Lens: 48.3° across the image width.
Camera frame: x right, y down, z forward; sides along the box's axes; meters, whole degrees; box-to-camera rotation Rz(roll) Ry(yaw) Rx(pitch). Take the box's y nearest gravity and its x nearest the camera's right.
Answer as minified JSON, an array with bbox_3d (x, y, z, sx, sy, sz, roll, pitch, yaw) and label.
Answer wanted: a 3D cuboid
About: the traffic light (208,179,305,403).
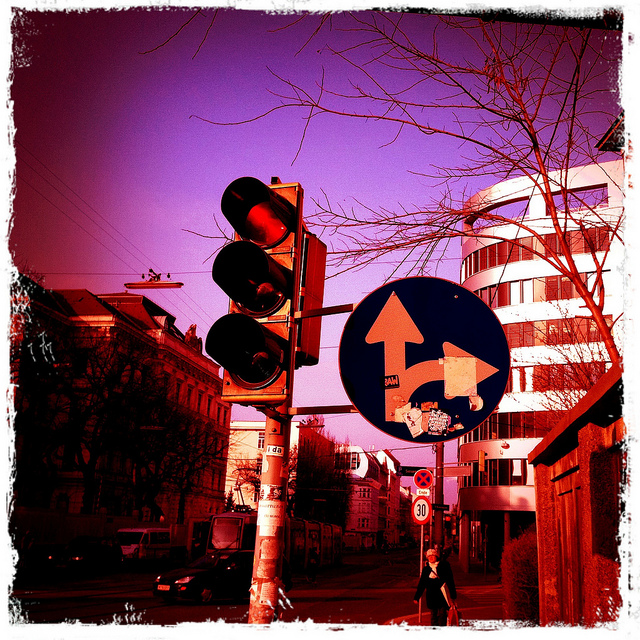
[{"bbox_3d":[-0.384,-0.220,4.295,0.510,1.455,0.338,-7,-19,21],"label":"traffic light"}]

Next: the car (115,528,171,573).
[{"bbox_3d":[-7.873,10.263,31.904,1.813,1.895,1.725,-8,-16,20],"label":"car"}]

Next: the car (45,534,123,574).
[{"bbox_3d":[-8.936,8.994,27.307,0.822,1.447,4.579,-4,-20,10],"label":"car"}]

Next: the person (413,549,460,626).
[{"bbox_3d":[1.952,4.531,12.109,0.712,1.232,1.822,-2,-20,7],"label":"person"}]

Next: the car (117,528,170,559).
[{"bbox_3d":[-7.854,10.135,32.119,1.238,1.111,2.127,-12,-29,20],"label":"car"}]

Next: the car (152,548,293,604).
[{"bbox_3d":[-2.875,6.811,18.970,1.371,1.347,2.831,-18,-26,41],"label":"car"}]
